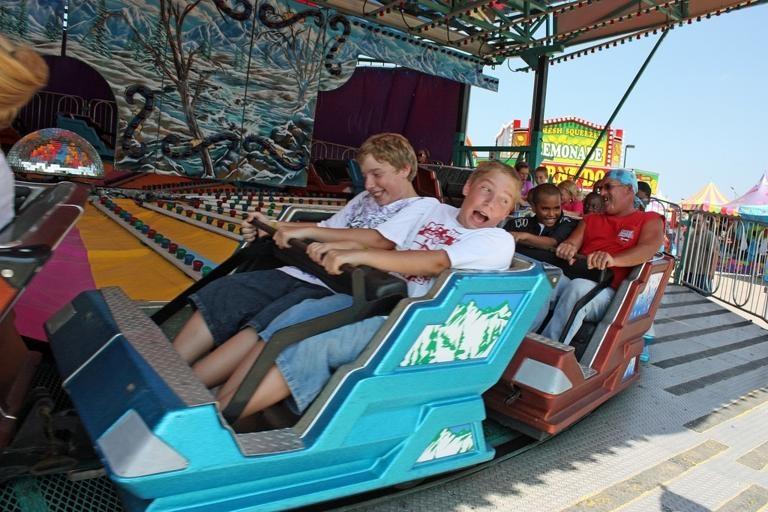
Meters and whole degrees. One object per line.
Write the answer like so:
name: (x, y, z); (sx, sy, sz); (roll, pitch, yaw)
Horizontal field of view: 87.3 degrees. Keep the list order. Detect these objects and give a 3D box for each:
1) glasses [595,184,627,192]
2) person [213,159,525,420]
glasses: (1.448, -0.449, 2.537); (0.160, 0.031, 0.122); (2, -1, -7)
person: (0.053, -0.017, 1.534); (1.635, 0.701, 0.541); (-10, 30, -22)
